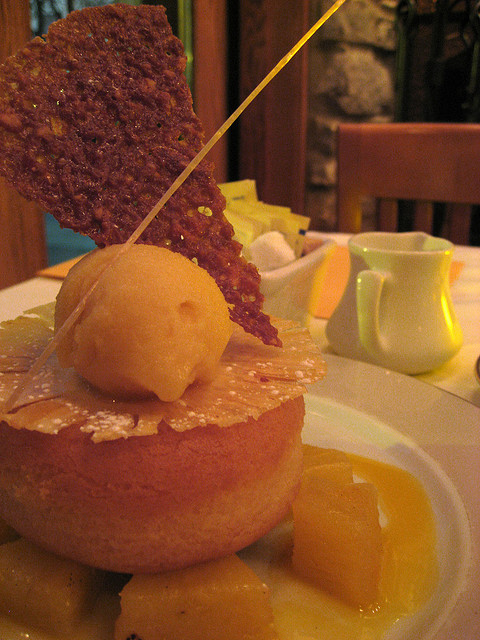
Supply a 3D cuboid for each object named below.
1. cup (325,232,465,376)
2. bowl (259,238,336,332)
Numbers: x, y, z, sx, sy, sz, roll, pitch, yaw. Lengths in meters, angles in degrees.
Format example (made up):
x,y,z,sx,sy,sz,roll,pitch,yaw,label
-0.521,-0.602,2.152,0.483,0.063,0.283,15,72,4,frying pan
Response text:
x,y,z,sx,sy,sz,roll,pitch,yaw,label
0.249,-0.042,1.130,0.184,0.163,0.244,8,19,27,cup
0.090,-0.058,1.141,0.111,0.125,0.122,26,32,25,bowl
